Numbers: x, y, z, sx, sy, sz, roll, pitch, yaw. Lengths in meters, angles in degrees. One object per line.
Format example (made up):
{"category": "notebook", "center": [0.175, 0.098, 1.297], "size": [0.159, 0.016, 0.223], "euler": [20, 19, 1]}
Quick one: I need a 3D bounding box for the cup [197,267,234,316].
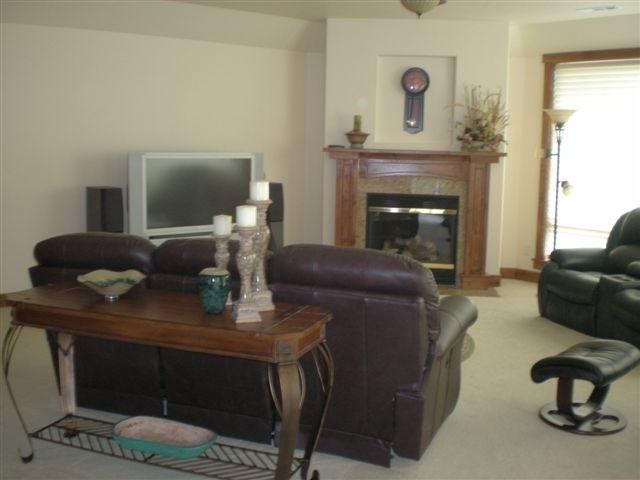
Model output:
{"category": "cup", "center": [-0.502, 0.234, 2.593], "size": [0.202, 0.210, 0.188], "euler": [1, 0, 0]}

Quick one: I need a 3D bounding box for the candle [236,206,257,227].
{"category": "candle", "center": [-0.356, -0.116, 2.609], "size": [0.099, 0.095, 0.093], "euler": [-3, 12, -20]}

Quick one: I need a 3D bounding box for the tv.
{"category": "tv", "center": [-1.224, -0.374, 4.921], "size": [1.112, 0.680, 0.111], "euler": [-4, 7, -37]}

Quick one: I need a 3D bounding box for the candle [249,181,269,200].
{"category": "candle", "center": [-0.290, -0.237, 2.642], "size": [0.096, 0.091, 0.090], "euler": [-4, 7, -33]}

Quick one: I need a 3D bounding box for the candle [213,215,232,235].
{"category": "candle", "center": [-0.478, -0.077, 2.707], "size": [0.102, 0.104, 0.102], "euler": [7, 9, 34]}

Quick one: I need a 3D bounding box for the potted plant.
{"category": "potted plant", "center": [1.715, -1.340, 6.383], "size": [0.777, 0.687, 0.733], "euler": [1, 0, -21]}

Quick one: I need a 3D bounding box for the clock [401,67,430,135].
{"category": "clock", "center": [1.052, -1.586, 6.310], "size": [0.296, 0.728, 0.089], "euler": [4, 15, 6]}

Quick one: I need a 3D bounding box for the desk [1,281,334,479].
{"category": "desk", "center": [-0.775, 0.748, 2.811], "size": [1.609, 0.970, 0.504], "euler": [6, 14, 16]}
